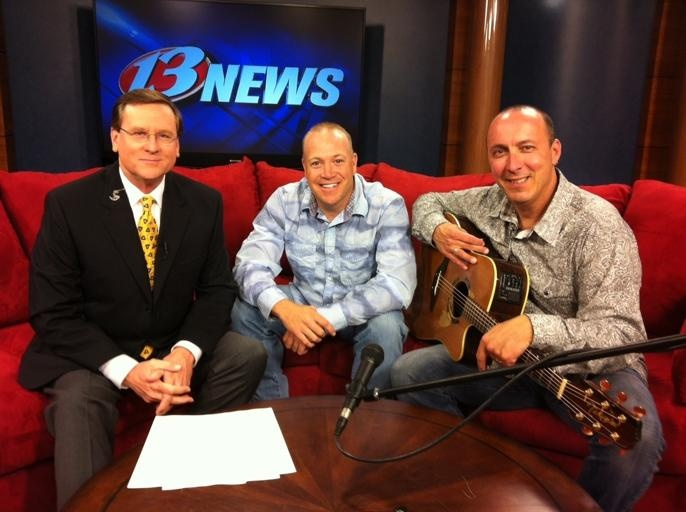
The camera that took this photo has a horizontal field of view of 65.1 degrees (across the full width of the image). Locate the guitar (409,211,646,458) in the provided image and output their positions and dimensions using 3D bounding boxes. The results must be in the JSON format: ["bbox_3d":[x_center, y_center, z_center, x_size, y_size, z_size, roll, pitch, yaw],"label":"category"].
[{"bbox_3d":[0.571,0.282,2.009,0.154,0.464,1.089,14,23,-31],"label":"guitar"}]

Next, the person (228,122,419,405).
[{"bbox_3d":[-0.114,0.128,2.577,0.870,1.415,0.894,-5,22,-16],"label":"person"}]

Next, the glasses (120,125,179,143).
[{"bbox_3d":[-0.797,-0.490,2.200,0.246,0.069,0.110,-7,18,-24],"label":"glasses"}]
